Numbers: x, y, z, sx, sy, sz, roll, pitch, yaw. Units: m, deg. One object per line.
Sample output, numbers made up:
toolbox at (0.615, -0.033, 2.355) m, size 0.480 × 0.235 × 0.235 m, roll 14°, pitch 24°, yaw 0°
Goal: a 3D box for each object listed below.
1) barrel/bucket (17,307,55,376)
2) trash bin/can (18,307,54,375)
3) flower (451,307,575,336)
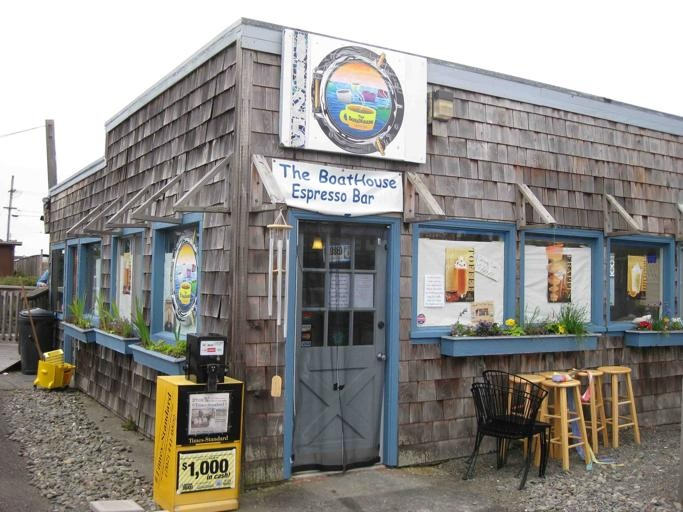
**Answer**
barrel/bucket at (-6.029, 1.686, 12.319) m, size 0.940 × 1.290 × 0.943 m, roll 3°, pitch 2°, yaw 0°
trash bin/can at (-6.053, 1.689, 12.313) m, size 0.661 × 1.287 × 0.690 m, roll 2°, pitch 0°, yaw -12°
flower at (2.366, 0.819, 7.893) m, size 2.050 × 0.370 × 0.384 m, roll 2°, pitch -6°, yaw -24°
